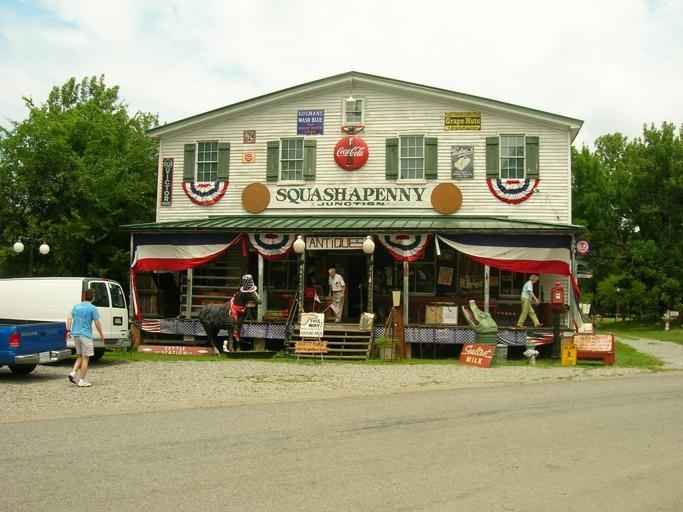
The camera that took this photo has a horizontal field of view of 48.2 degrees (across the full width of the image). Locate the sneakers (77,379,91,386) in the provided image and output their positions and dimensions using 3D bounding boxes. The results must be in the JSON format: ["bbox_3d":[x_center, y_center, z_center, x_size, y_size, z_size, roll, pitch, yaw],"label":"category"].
[{"bbox_3d":[-5.958,2.908,17.459,0.352,0.157,0.141,2,3,-5],"label":"sneakers"}]

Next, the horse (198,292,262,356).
[{"bbox_3d":[-3.616,2.190,24.985,2.557,1.979,0.865,-10,-11,33],"label":"horse"}]

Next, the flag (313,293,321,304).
[{"bbox_3d":[-0.914,1.544,27.344,0.384,0.398,0.040,11,-22,-29],"label":"flag"}]

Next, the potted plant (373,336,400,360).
[{"bbox_3d":[1.390,2.886,24.094,0.737,0.741,0.617,-2,-5,26],"label":"potted plant"}]
